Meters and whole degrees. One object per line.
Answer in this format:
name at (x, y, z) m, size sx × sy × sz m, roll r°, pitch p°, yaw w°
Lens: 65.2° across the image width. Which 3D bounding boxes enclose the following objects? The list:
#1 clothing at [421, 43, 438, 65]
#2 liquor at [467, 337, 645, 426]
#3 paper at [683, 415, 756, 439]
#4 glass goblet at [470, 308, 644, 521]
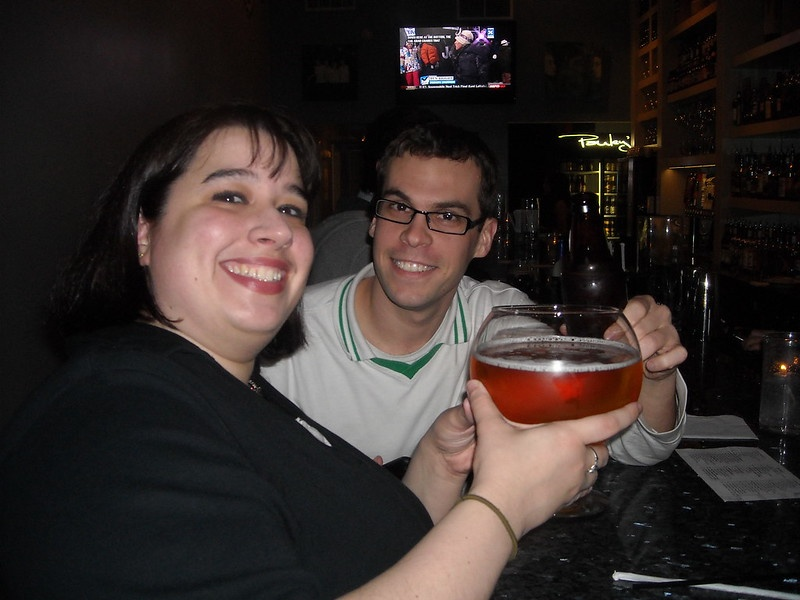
clothing at (0.362, -3.123, 7.919) m, size 0.217 × 0.227 × 0.057 m, roll 2°, pitch 17°, yaw 7°
liquor at (0.303, 0.160, 1.137) m, size 0.294 × 0.132 × 0.305 m, roll -11°, pitch -18°, yaw 34°
paper at (0.810, 0.326, 1.625) m, size 0.170 × 0.016 × 0.191 m, roll -1°, pitch 9°, yaw 14°
glass goblet at (0.283, 0.162, 1.168) m, size 0.323 × 0.312 × 0.316 m, roll 6°, pitch 16°, yaw 31°
